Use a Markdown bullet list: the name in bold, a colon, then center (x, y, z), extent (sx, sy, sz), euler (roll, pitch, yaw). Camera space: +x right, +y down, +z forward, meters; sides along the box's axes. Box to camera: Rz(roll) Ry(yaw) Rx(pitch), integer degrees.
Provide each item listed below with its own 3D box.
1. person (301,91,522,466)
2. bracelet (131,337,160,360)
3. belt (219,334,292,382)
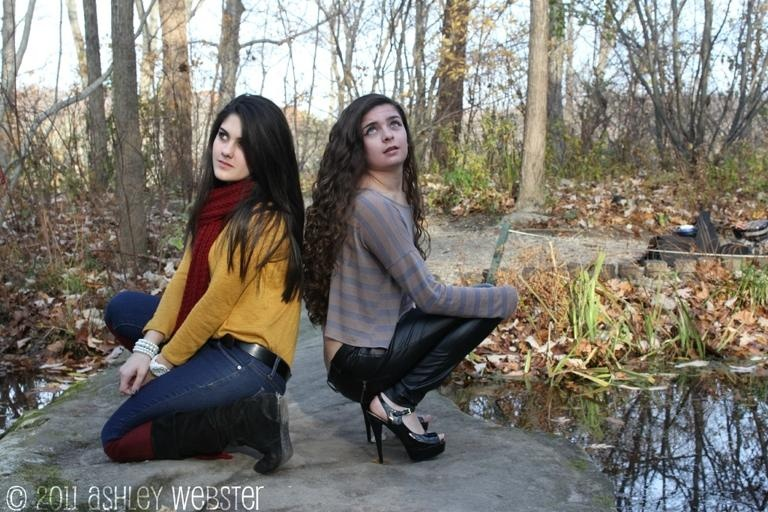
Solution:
- **person**: center (0.071, 0.124, 4.094), extent (1.179, 2.296, 0.329), euler (2, 3, -1)
- **bracelet**: center (-1.476, 0.562, 4.007), extent (0.135, 0.079, 0.109), euler (15, -16, 19)
- **belt**: center (-0.772, 0.597, 3.969), extent (0.317, 0.082, 0.286), euler (23, -7, 5)
